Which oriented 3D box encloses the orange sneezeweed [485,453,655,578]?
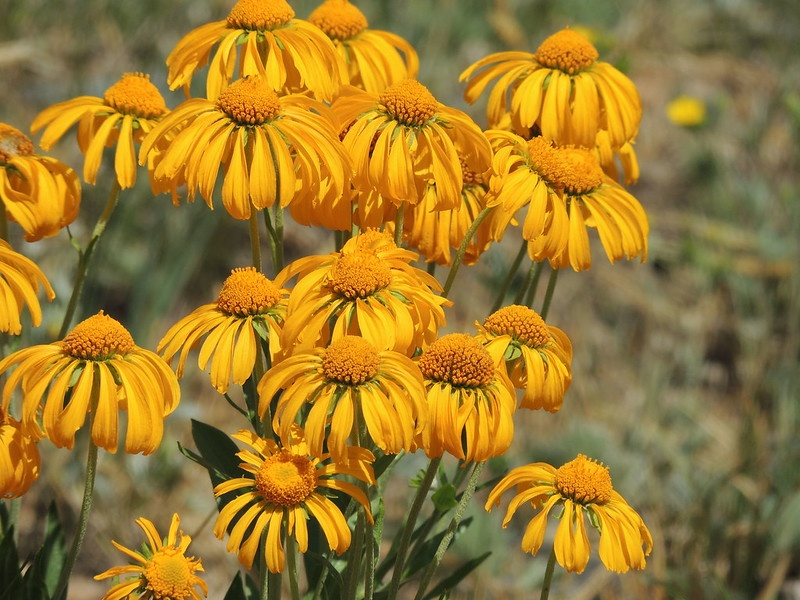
[{"bbox_3d":[0.699,0.820,4.384,0.592,0.601,0.399,11,92,42],"label":"orange sneezeweed"}]

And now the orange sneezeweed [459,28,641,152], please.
[{"bbox_3d":[0.703,-0.884,4.697,0.622,0.726,0.445,4,104,6],"label":"orange sneezeweed"}]

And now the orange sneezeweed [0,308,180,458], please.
[{"bbox_3d":[-1.123,0.304,4.167,0.545,0.508,0.365,47,128,31],"label":"orange sneezeweed"}]

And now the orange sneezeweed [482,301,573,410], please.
[{"bbox_3d":[0.451,0.219,4.448,0.415,0.481,0.384,11,94,-1],"label":"orange sneezeweed"}]

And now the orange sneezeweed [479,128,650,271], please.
[{"bbox_3d":[0.682,-0.373,4.594,0.733,0.751,0.427,19,100,46],"label":"orange sneezeweed"}]
